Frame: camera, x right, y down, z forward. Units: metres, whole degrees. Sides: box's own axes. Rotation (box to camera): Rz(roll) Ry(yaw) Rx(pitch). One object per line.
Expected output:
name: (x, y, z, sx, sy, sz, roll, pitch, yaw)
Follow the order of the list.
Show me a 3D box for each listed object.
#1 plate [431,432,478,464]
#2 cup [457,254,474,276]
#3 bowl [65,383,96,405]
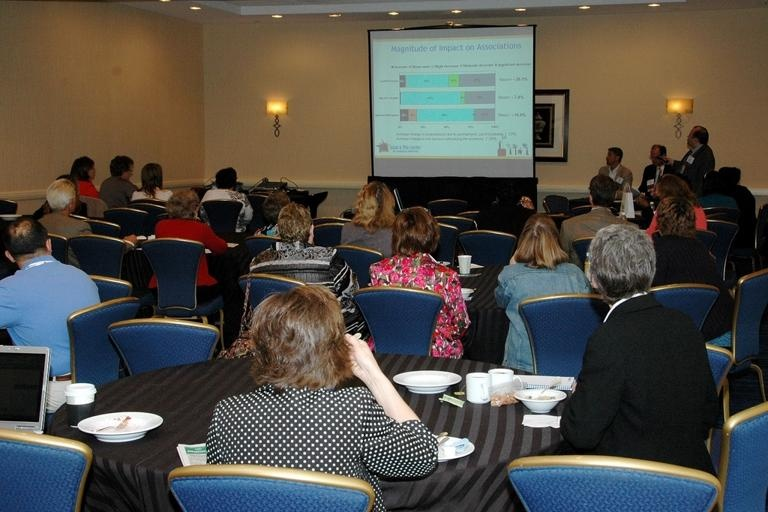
plate: (0.245, 0.642, 1.847, 0.129, 0.033, 0.133, 0, 9, 2)
cup: (0.627, 0.069, 4.331, 0.140, 0.151, 0.134, 0, -6, 0)
bowl: (-1.137, 0.499, 2.046, 0.079, 0.052, 0.081, 2, 4, 0)
